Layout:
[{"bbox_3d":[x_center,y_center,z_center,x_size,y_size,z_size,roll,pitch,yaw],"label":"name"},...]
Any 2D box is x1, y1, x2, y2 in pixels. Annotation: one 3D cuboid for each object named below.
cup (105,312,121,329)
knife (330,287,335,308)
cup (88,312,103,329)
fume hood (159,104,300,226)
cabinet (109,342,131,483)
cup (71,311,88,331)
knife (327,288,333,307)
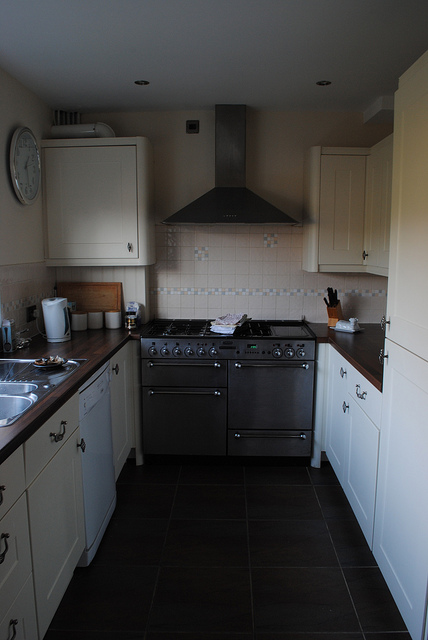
[{"bbox_3d":[-0.692,-0.010,3.091,0.094,0.121,0.102,2,10,0],"label":"cup"},{"bbox_3d":[0.821,-0.158,3.102,0.047,0.126,0.016,-4,6,-40],"label":"knife"},{"bbox_3d":[-0.821,-0.007,3.125,0.097,0.128,0.105,3,12,-1],"label":"cup"},{"bbox_3d":[0.103,-1.027,2.929,0.777,0.818,0.387,0,4,3],"label":"fume hood"},{"bbox_3d":[-0.545,0.506,2.612,0.147,0.555,0.224,0,10,-13],"label":"cabinet"},{"bbox_3d":[-0.913,0.000,3.039,0.107,0.137,0.115,2,5,0],"label":"cup"},{"bbox_3d":[0.804,-0.161,3.117,0.032,0.139,0.030,-13,0,6],"label":"knife"}]
